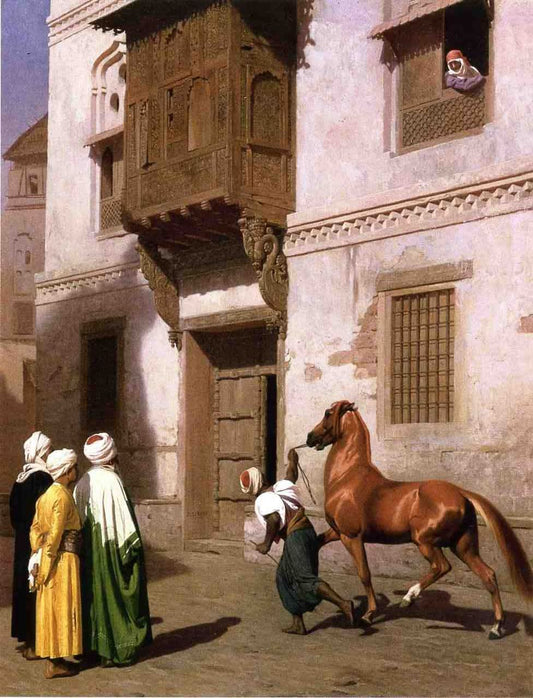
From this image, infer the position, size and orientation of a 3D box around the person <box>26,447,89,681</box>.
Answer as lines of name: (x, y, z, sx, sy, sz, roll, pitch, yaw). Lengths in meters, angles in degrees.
person: (-1.360, 1.389, 7.110, 0.337, 1.425, 0.444, -1, -1, -10)

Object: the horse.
horse: (1.032, 1.209, 7.906, 0.694, 1.647, 1.705, -1, -2, -41)
